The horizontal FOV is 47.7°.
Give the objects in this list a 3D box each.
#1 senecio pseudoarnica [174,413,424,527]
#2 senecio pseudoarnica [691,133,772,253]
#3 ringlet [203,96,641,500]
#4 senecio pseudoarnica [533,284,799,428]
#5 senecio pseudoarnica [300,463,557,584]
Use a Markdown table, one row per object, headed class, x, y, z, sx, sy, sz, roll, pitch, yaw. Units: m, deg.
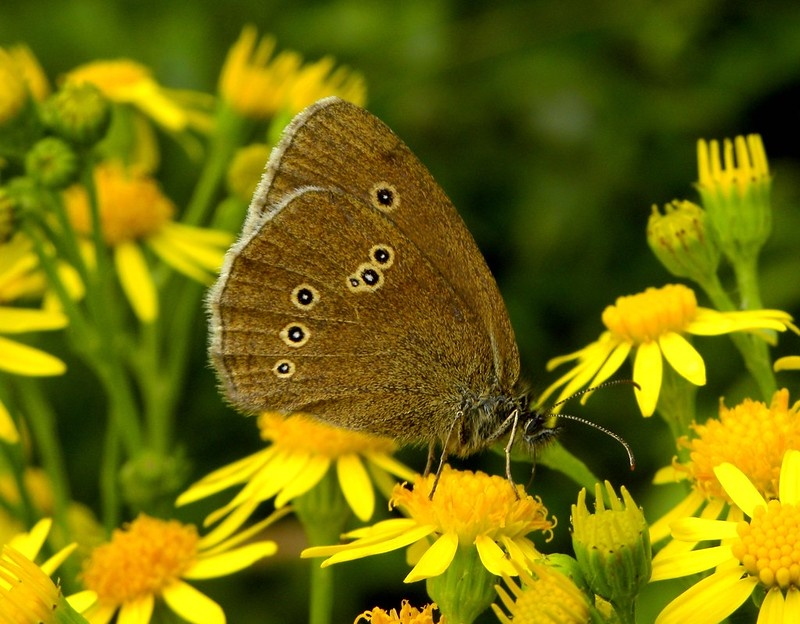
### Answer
| class | x | y | z | sx | sy | sz | roll | pitch | yaw |
| --- | --- | --- | --- | --- | --- | --- | --- | --- | --- |
| senecio pseudoarnica | -0.244 | 0.373 | 2.143 | 0.345 | 0.352 | 0.113 | -4 | 110 | -18 |
| senecio pseudoarnica | 0.795 | -0.289 | 2.148 | 0.166 | 0.184 | 0.241 | -5 | 57 | -10 |
| ringlet | 0.111 | -0.058 | 2.421 | 1.060 | 0.707 | 0.947 | 8 | 93 | 15 |
| senecio pseudoarnica | 0.585 | 0.058 | 2.078 | 0.392 | 0.395 | 0.139 | -30 | 107 | -16 |
| senecio pseudoarnica | 0.115 | 0.371 | 1.865 | 0.312 | 0.322 | 0.108 | 1 | 95 | 12 |
